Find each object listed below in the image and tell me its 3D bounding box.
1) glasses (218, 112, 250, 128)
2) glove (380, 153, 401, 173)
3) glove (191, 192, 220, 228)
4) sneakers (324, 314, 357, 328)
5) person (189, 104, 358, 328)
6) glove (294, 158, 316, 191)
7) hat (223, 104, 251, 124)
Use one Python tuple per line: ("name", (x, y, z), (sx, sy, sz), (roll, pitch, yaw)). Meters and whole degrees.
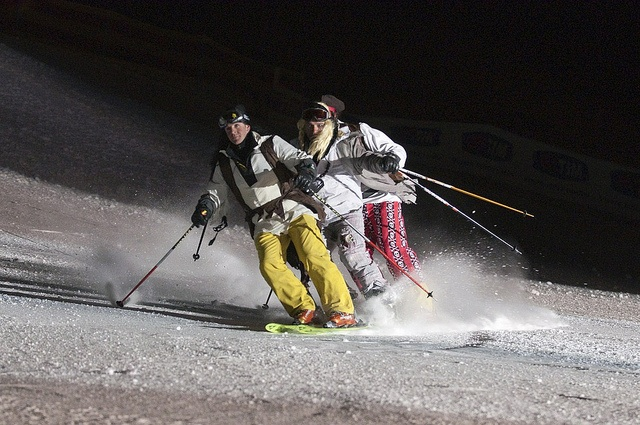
("glasses", (-0.845, -0.910, 6.254), (0.229, 0.080, 0.179), (7, -16, -41))
("glove", (0.705, -0.487, 6.428), (0.185, 0.186, 0.124), (8, 12, 4))
("glove", (-1.172, -0.019, 6.293), (0.213, 0.334, 0.143), (38, -3, 18))
("sneakers", (0.202, 1.032, 6.059), (0.356, 0.135, 0.109), (3, -9, -29))
("person", (-0.380, 0.027, 6.174), (1.674, 1.978, 0.586), (12, 13, 23))
("glove", (-0.148, -0.358, 6.050), (0.195, 0.299, 0.209), (6, 12, -7))
("hat", (-0.828, -0.944, 6.284), (0.191, 0.110, 0.247), (-7, -11, 26))
